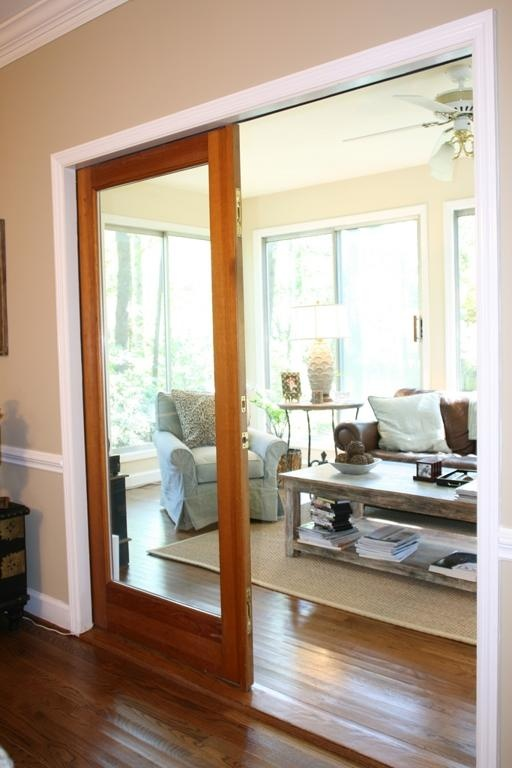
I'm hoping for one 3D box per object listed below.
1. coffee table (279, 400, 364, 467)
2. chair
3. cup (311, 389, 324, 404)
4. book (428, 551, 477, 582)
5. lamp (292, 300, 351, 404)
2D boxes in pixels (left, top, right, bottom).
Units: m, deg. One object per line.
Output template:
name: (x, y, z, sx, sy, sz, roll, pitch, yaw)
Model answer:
coffee table: (0.562, 0.321, 5.457, 0.681, 0.701, 0.677, -1, 4, 17)
chair: (-0.164, 0.288, 2.371, 0.482, 0.474, 0.513, -1, 2, 40)
cup: (0.523, 0.114, 5.233, 0.105, 0.101, 0.097, -2, 2, 0)
book: (0.915, 0.811, 2.797, 0.152, 0.031, 0.140, -5, 8, -45)
lamp: (0.561, -0.269, 5.431, 0.441, 0.845, 0.724, -2, 2, 5)
